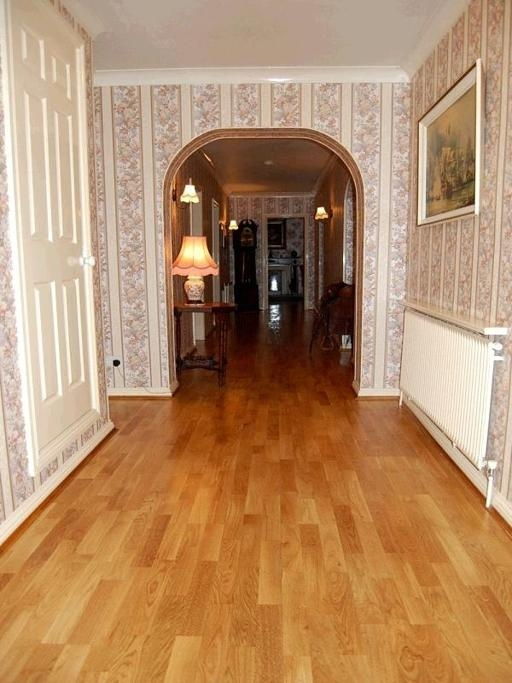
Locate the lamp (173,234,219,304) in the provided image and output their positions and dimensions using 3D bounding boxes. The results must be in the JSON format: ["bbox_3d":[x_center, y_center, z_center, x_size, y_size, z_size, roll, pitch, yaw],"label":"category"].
[{"bbox_3d":[-0.606,-0.715,5.004,0.552,0.798,0.607,-1,6,-1],"label":"lamp"}]

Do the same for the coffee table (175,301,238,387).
[{"bbox_3d":[-0.623,0.014,5.470,0.829,0.882,0.884,1,10,4],"label":"coffee table"}]
